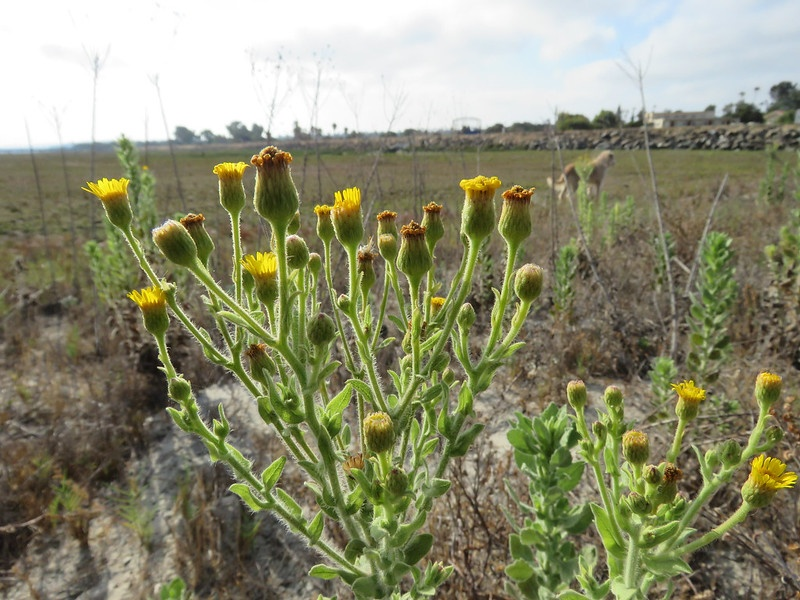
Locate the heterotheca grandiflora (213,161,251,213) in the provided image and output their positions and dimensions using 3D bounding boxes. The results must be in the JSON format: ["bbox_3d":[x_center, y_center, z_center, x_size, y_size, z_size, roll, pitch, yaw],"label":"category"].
[{"bbox_3d":[-1.271,-0.832,5.545,0.257,0.393,0.274,-7,-3,7],"label":"heterotheca grandiflora"}]

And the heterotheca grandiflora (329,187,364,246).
[{"bbox_3d":[-0.399,-0.624,5.481,0.232,0.431,0.207,-6,14,-6],"label":"heterotheca grandiflora"}]

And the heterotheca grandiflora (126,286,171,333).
[{"bbox_3d":[-1.826,0.072,5.397,0.256,0.373,0.241,-8,14,-12],"label":"heterotheca grandiflora"}]

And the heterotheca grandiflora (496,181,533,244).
[{"bbox_3d":[0.886,-0.626,5.599,0.220,0.463,0.264,5,8,-9],"label":"heterotheca grandiflora"}]

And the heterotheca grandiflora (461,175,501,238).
[{"bbox_3d":[0.585,-0.672,5.517,0.277,0.506,0.305,7,13,14],"label":"heterotheca grandiflora"}]

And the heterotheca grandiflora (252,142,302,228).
[{"bbox_3d":[-0.912,-0.804,5.331,0.327,0.601,0.332,-7,14,-9],"label":"heterotheca grandiflora"}]

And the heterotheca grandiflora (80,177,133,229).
[{"bbox_3d":[-2.205,-0.731,5.554,0.296,0.414,0.345,-4,0,-7],"label":"heterotheca grandiflora"}]

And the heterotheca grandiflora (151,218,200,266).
[{"bbox_3d":[-1.616,-0.391,5.290,0.229,0.378,0.143,-50,13,-15],"label":"heterotheca grandiflora"}]
